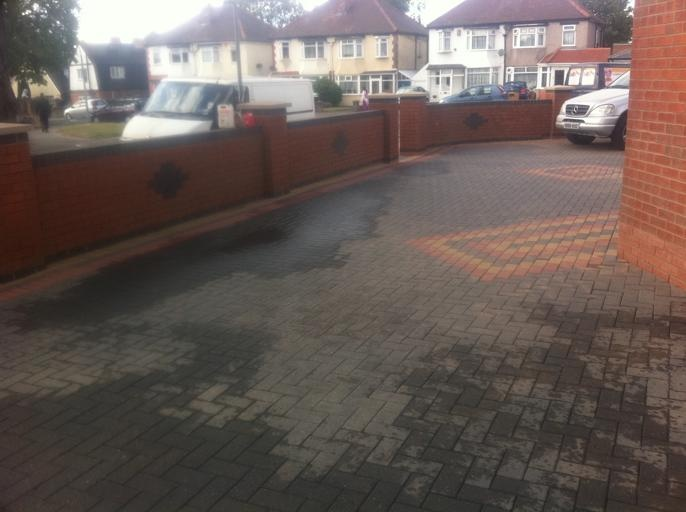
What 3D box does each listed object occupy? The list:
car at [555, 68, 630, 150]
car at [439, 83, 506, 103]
[{"bbox_3d":[8.700,-4.927,17.307,2.191,2.025,2.424,5,23,20],"label":"car"},{"bbox_3d":[9.555,-11.611,34.601,3.754,0.906,2.060,3,21,13],"label":"car"}]
